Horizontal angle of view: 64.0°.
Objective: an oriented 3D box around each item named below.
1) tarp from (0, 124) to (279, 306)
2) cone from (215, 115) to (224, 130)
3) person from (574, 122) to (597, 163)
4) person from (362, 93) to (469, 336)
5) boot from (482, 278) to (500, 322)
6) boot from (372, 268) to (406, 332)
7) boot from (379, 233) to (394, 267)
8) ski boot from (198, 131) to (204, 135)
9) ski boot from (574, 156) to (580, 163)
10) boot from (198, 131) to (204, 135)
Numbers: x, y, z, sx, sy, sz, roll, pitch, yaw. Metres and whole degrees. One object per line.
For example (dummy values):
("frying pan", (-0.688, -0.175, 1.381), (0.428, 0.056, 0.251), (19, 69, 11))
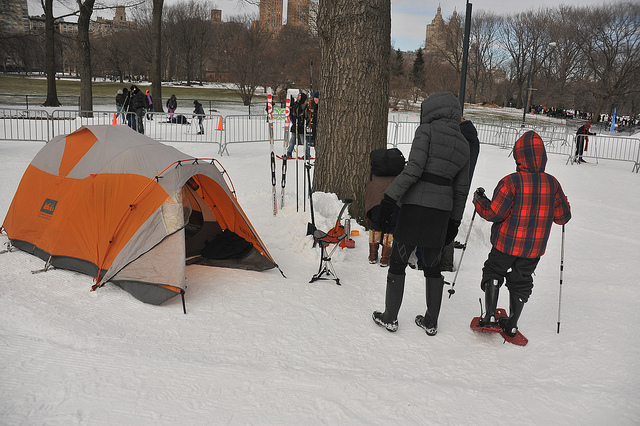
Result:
("tarp", (-3.188, -0.158, 8.565), (4.077, 2.521, 2.237), (4, 11, 12))
("cone", (-4.336, -3.852, 22.120), (0.465, 0.552, 0.473), (1, 6, -10))
("person", (10.932, -2.918, 21.301), (0.620, 1.615, 1.810), (7, 11, 27))
("person", (1.459, 0.062, 7.322), (1.274, 3.483, 0.614), (-3, 11, -26))
("boot", (2.514, 1.272, 7.565), (0.201, 0.691, 0.184), (5, 11, 19))
("boot", (0.992, 1.261, 7.474), (0.440, 0.939, 0.276), (6, 11, 21))
("boot", (1.185, 0.665, 9.216), (0.145, 0.653, 0.352), (-2, 11, -21))
("ski boot", (-5.083, -3.420, 21.891), (0.271, 0.117, 0.092), (5, 7, 13))
("ski boot", (10.479, -2.186, 20.971), (0.259, 0.271, 0.080), (11, -1, -13))
("boot", (-5.083, -3.420, 21.891), (0.271, 0.117, 0.092), (5, 7, 13))
